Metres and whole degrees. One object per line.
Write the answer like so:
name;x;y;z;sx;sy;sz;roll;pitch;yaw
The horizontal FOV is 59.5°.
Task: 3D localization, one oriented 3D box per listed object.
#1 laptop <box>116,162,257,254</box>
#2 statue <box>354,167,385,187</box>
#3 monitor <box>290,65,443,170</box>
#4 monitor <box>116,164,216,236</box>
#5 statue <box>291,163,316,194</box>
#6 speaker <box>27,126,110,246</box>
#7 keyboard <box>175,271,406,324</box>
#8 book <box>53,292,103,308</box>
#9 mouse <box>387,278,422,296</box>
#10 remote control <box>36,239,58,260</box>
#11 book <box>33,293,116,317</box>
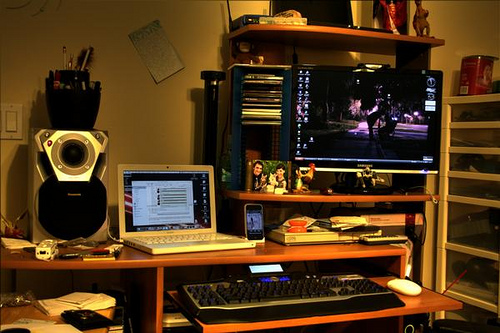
laptop;-0.296;0.182;2.046;0.554;0.348;0.420;2;1;-40
statue;0.642;0.055;2.403;0.108;0.106;0.064;-4;5;4
monitor;0.607;-0.273;2.417;0.633;0.399;0.046;1;3;-5
monitor;-0.289;0.163;2.070;0.351;0.377;0.580;-4;-5;42
statue;0.298;0.058;2.397;0.129;0.156;0.256;-4;5;15
speaker;-0.901;0.095;2.177;0.400;0.591;0.357;-2;5;-23
keyboard;0.181;0.533;1.855;0.940;0.154;0.302;-6;5;-14
book;-0.733;0.574;1.880;0.090;0.018;0.083;12;9;31
mouse;0.682;0.518;1.935;0.076;0.020;0.086;-1;9;-33
remote control;-0.869;0.328;1.857;0.054;0.043;0.134;1;13;-7
book;-0.776;0.584;1.840;0.132;0.019;0.143;5;4;41
